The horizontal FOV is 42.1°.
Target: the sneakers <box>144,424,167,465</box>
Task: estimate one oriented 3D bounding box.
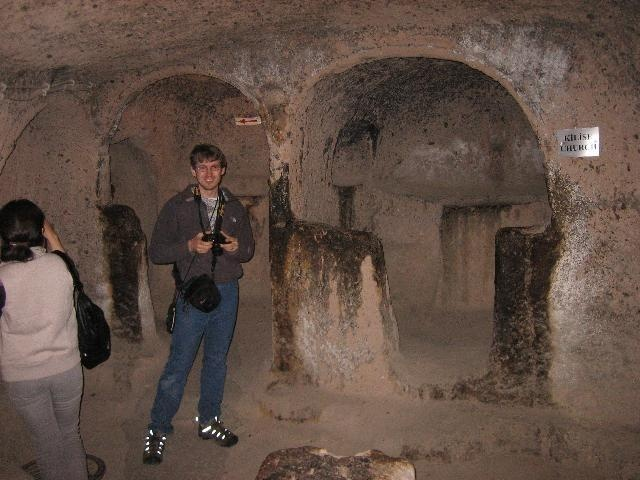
[{"bbox_3d":[-0.908,1.137,4.561,0.083,0.106,0.251,13,-8,-16],"label":"sneakers"}]

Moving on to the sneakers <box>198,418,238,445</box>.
[{"bbox_3d":[-0.572,1.064,4.742,0.271,0.144,0.103,9,17,12],"label":"sneakers"}]

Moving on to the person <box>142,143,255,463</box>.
[{"bbox_3d":[-0.657,0.360,4.561,0.570,1.265,0.342,3,-1,-15],"label":"person"}]

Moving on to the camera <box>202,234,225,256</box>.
[{"bbox_3d":[-0.558,0.014,4.442,0.097,0.117,0.048,-7,17,-8],"label":"camera"}]

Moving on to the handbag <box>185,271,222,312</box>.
[{"bbox_3d":[-0.632,0.276,4.441,0.137,0.155,0.085,-44,13,-21],"label":"handbag"}]

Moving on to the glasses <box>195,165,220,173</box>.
[{"bbox_3d":[-0.601,-0.380,4.494,0.117,0.030,0.031,3,-2,-9],"label":"glasses"}]
